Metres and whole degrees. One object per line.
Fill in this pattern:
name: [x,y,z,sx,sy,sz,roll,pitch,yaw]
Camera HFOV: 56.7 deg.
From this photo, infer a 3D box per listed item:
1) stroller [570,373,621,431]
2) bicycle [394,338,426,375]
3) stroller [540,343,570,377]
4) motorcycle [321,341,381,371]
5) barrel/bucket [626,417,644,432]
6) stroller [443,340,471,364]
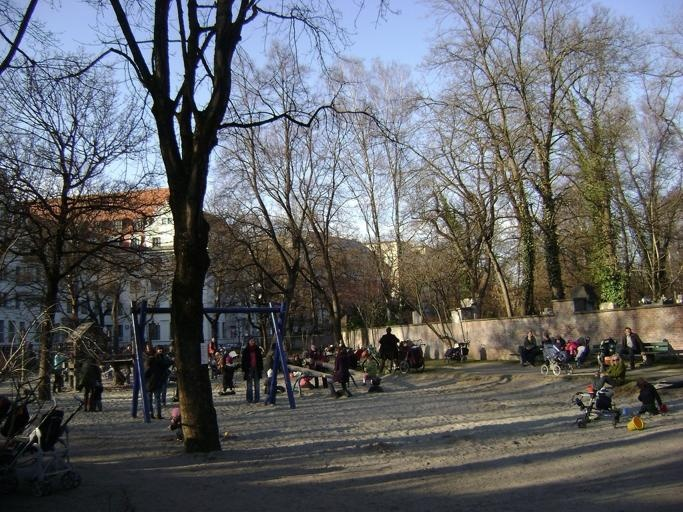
stroller: [6.455,3.772,16.152,1.451,1.014,0.958,17,-21,-35]
bicycle: [3.475,5.103,31.954,1.100,1.627,1.616,6,-6,-34]
stroller: [8.490,4.099,25.091,1.247,1.331,0.935,-7,-10,41]
motorcycle: [0.454,5.596,36.354,3.194,2.084,1.801,-2,-8,1]
barrel/bucket: [6.897,3.924,14.859,0.332,0.356,0.249,21,-28,-40]
stroller: [6.352,5.296,34.923,1.362,1.112,1.204,-6,-9,9]
